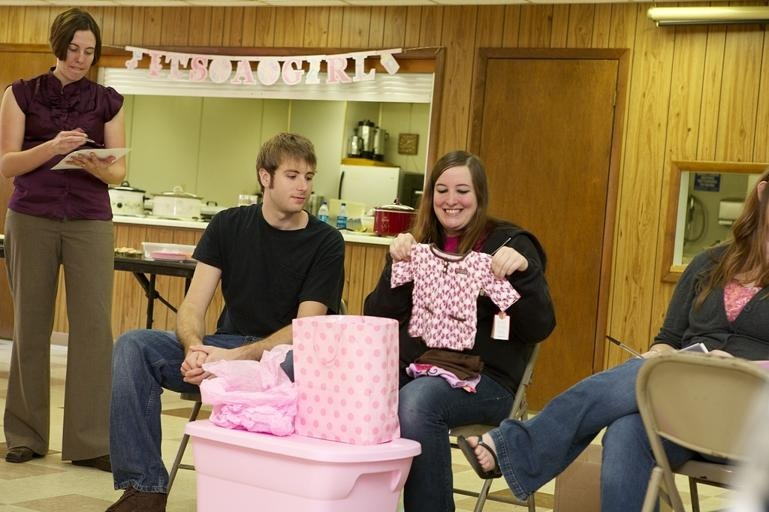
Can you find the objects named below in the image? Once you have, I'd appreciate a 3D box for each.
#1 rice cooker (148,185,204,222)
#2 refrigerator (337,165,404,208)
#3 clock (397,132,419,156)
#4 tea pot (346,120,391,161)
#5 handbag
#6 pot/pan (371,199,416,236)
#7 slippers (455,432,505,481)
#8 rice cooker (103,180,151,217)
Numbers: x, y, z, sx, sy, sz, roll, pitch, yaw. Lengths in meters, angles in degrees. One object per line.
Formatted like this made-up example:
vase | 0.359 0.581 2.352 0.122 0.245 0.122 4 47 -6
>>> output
rice cooker | -2.106 -0.532 6.555 0.536 0.375 0.532 3 0 -10
refrigerator | -0.190 -0.850 7.819 0.961 0.588 0.402 1 6 41
clock | 0.301 -1.396 8.079 0.274 0.314 0.042 2 -6 19
tea pot | -0.182 -1.410 8.273 0.464 0.663 0.515 3 3 -41
handbag | -0.092 0.380 2.291 0.358 0.412 0.314 5 6 41
pot/pan | 0.091 -0.343 5.804 0.393 0.356 0.409 5 5 1
slippers | 0.348 0.759 2.447 0.066 0.210 0.110 -37 20 10
rice cooker | -2.619 -0.571 6.573 0.408 0.389 0.432 0 -4 11
